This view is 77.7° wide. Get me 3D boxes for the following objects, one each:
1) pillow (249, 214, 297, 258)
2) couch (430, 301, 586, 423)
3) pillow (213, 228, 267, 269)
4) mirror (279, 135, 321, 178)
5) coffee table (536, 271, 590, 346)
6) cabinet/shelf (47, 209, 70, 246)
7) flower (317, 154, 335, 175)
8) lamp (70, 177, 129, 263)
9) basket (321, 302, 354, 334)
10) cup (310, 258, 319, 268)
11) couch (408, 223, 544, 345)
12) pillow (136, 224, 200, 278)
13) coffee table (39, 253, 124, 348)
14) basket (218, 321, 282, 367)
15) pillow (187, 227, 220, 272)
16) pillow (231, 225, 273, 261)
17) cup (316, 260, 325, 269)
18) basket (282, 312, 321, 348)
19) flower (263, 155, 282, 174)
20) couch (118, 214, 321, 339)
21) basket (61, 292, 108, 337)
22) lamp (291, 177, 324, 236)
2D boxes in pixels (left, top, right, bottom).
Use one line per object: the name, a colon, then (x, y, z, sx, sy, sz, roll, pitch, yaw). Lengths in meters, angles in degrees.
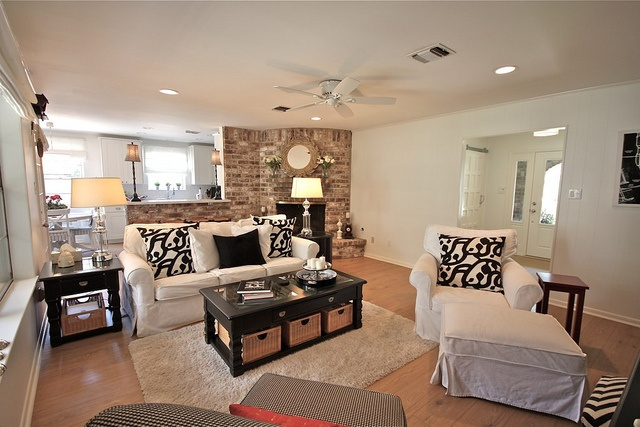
pillow: (-0.658, 0.321, 5.444, 0.630, 0.641, 0.263, 1, -8, -22)
couch: (1.818, 1.368, 3.668, 1.286, 0.581, 0.990, 5, 8, 20)
pillow: (-1.004, 0.455, 5.047, 0.513, 0.451, 0.152, -8, -20, -39)
mirror: (-0.354, -1.085, 7.486, 0.901, 0.873, 0.054, 4, 8, 20)
coffee table: (2.699, 1.040, 4.434, 0.473, 0.524, 0.472, 14, -6, -39)
cabinet/shelf: (-4.315, 0.244, 6.578, 0.300, 0.670, 0.631, -4, 6, -32)
flower: (0.123, -0.930, 7.427, 0.351, 0.362, 0.365, -6, 10, -34)
lamp: (-2.630, 0.065, 4.757, 0.551, 0.998, 0.591, -3, 6, -27)
basket: (0.159, 1.183, 4.649, 0.424, 0.262, 0.225, -6, 8, -38)
cup: (-0.074, 0.572, 4.614, 0.104, 0.107, 0.099, 1, -1, 0)
couch: (1.767, 0.824, 4.686, 1.414, 1.166, 1.122, 8, 15, 25)
pillow: (-1.845, 0.471, 4.783, 0.568, 0.275, 0.467, -11, 41, -29)
coffee table: (-2.752, 0.961, 4.790, 0.919, 0.883, 0.889, -3, 5, -31)
basket: (-0.691, 1.332, 4.181, 0.331, 0.225, 0.552, -3, 4, -36)
pillow: (-1.465, 0.456, 5.050, 0.325, 0.513, 0.611, 8, -1, 6)
pillow: (-0.948, 0.430, 5.363, 0.609, 0.583, 0.231, -7, 26, -38)
cup: (-0.001, 0.583, 4.595, 0.102, 0.090, 0.096, 1, 0, 0)
basket: (-0.250, 1.243, 4.422, 0.475, 0.283, 0.266, -3, 6, -44)
flower: (-0.888, -0.979, 7.639, 0.407, 0.382, 0.345, 9, 17, 39)
couch: (-1.173, 0.693, 5.322, 2.477, 1.021, 1.062, -6, 10, -28)
basket: (-2.779, 1.149, 4.651, 0.469, 0.202, 0.697, -5, 9, -27)
lamp: (-0.225, -0.100, 6.255, 0.645, 0.824, 0.654, -7, -9, 40)
